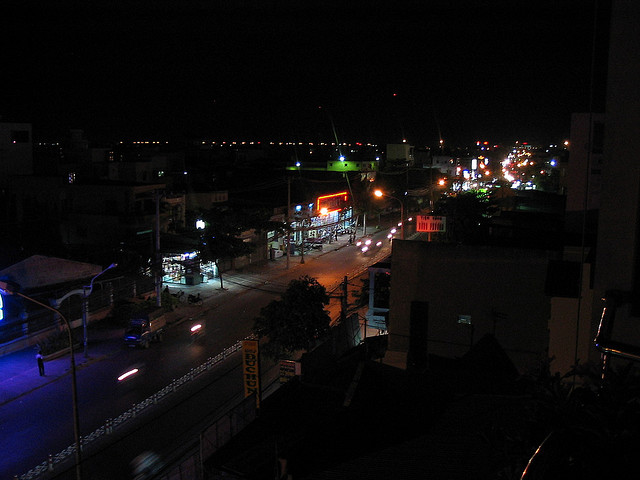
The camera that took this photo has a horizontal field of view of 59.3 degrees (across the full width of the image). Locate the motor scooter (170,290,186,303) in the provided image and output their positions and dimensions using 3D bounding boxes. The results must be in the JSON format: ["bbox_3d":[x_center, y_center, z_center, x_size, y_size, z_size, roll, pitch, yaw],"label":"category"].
[{"bbox_3d":[-9.116,3.573,36.198,0.822,0.759,0.593,8,-4,-25],"label":"motor scooter"}]

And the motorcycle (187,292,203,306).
[{"bbox_3d":[-7.957,3.744,35.958,0.910,0.548,1.100,-4,8,-14],"label":"motorcycle"}]

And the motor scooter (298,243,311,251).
[{"bbox_3d":[-1.591,0.588,52.916,0.823,0.949,0.683,-1,3,29],"label":"motor scooter"}]
